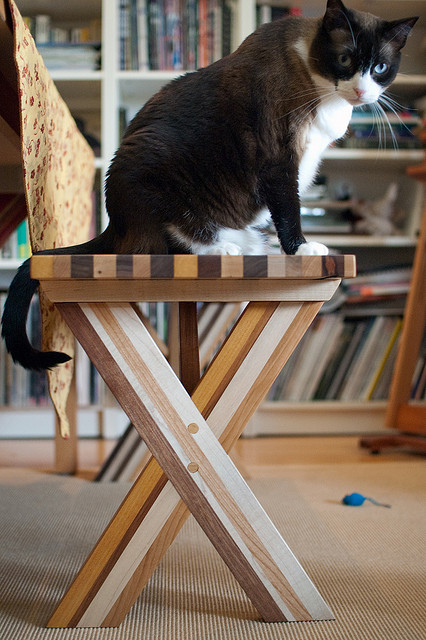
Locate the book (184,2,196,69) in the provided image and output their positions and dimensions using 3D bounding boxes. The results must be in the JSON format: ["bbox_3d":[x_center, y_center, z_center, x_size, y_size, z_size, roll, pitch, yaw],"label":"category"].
[{"bbox_3d":[-0.066,-0.822,1.967,0.039,0.180,0.061,2,23,-6],"label":"book"}]

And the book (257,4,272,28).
[{"bbox_3d":[0.150,-0.895,1.996,0.045,0.062,0.077,5,21,1],"label":"book"}]

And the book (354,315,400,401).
[{"bbox_3d":[0.481,0.108,1.986,0.041,0.287,0.041,36,17,11],"label":"book"}]

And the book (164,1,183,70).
[{"bbox_3d":[-0.114,-0.823,1.965,0.056,0.184,0.056,1,23,-8],"label":"book"}]

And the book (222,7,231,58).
[{"bbox_3d":[0.038,-0.833,1.965,0.027,0.132,0.064,3,22,-4],"label":"book"}]

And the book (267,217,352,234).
[{"bbox_3d":[0.345,-0.285,2.060,0.158,0.045,0.044,-2,23,-16],"label":"book"}]

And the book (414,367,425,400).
[{"bbox_3d":[0.626,0.196,2.049,0.017,0.086,0.039,13,24,21],"label":"book"}]

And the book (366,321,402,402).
[{"bbox_3d":[0.507,0.124,2.025,0.023,0.237,0.100,22,28,35],"label":"book"}]

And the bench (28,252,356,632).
[{"bbox_3d":[-0.018,0.131,0.952,0.456,0.478,0.437,1,-1,-3],"label":"bench"}]

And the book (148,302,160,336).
[{"bbox_3d":[-0.176,-0.007,2.025,0.037,0.115,0.068,2,22,-6],"label":"book"}]

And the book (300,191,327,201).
[{"bbox_3d":[0.309,-0.379,2.091,0.143,0.025,0.033,-12,27,-36],"label":"book"}]

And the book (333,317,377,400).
[{"bbox_3d":[0.424,0.115,2.027,0.039,0.292,0.032,41,20,21],"label":"book"}]

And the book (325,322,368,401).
[{"bbox_3d":[0.415,0.157,2.019,0.041,0.055,0.242,4,60,-17],"label":"book"}]

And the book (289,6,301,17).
[{"bbox_3d":[0.244,-0.925,2.028,0.037,0.025,0.082,6,21,4],"label":"book"}]
